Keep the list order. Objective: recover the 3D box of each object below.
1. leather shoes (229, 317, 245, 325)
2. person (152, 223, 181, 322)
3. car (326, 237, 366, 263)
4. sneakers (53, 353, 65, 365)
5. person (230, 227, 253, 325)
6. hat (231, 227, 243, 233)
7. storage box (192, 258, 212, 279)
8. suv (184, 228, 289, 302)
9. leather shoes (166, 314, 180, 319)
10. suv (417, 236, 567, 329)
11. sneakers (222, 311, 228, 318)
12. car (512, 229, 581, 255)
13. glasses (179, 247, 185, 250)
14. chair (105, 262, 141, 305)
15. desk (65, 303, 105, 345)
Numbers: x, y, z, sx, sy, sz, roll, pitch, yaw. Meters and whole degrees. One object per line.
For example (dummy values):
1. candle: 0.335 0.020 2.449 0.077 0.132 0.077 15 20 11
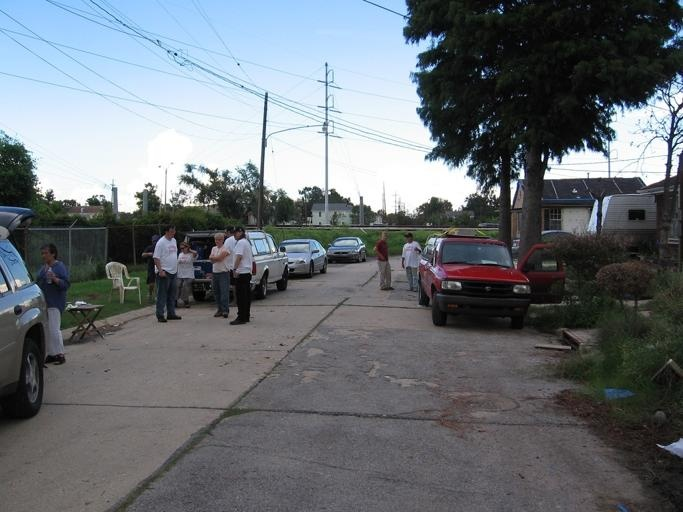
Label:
1. leather shoes: -2.378 1.512 12.124 0.359 0.162 0.132 2 2 5
2. person: -4.202 0.444 12.715 0.557 2.309 1.162 -3 5 -19
3. car: 0.175 -0.303 35.655 2.389 1.547 2.070 -4 5 -15
4. sneakers: -4.641 1.726 8.686 0.085 0.123 0.250 1 -2 9
5. person: -2.310 0.604 12.264 0.364 1.950 0.668 0 5 22
6. hat: -2.459 -0.662 12.700 0.151 0.169 0.191 -12 0 -32
7. storage box: -4.144 0.401 15.809 0.477 0.432 0.827 1 5 2
8. suv: -3.208 0.233 17.384 1.713 1.654 3.416 0 6 15
9. leather shoes: -4.106 1.507 12.949 0.311 0.137 0.113 2 2 -8
10. suv: 3.231 0.578 13.051 2.071 1.409 3.137 0 -3 3
11. sneakers: -2.908 1.504 13.197 0.106 0.118 0.112 -1 -3 -1
12. car: 7.350 -0.476 19.084 2.386 0.802 1.354 -3 1 -35
13. glasses: -4.721 -0.227 15.717 0.126 0.146 0.177 0 3 -3
14. chair: -6.459 0.807 15.644 0.868 1.301 0.716 -4 -3 36
15. desk: -5.409 1.477 11.153 0.665 0.852 0.852 1 1 -3
